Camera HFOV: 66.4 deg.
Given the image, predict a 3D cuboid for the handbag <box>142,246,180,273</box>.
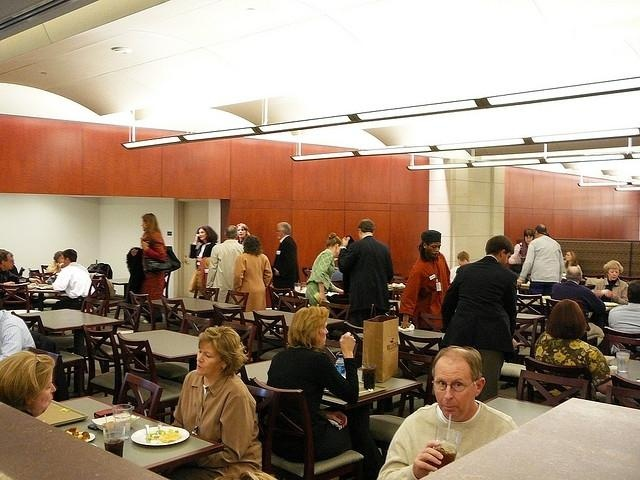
[{"bbox_3d":[-2.480,0.298,7.831,0.396,0.169,0.487,4,7,20],"label":"handbag"}]
